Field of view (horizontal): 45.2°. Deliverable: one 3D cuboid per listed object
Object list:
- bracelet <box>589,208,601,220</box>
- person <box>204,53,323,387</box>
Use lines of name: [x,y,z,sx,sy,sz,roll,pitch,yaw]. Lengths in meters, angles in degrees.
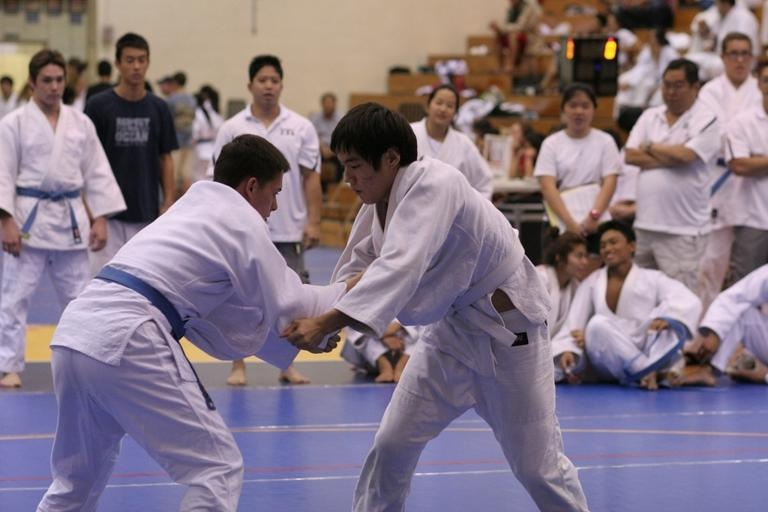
bracelet: [1.722,-0.348,7.528,0.098,0.063,0.089,1,4,-2]
person: [-0.879,-0.249,7.118,0.963,2.708,0.777,-3,-9,4]
